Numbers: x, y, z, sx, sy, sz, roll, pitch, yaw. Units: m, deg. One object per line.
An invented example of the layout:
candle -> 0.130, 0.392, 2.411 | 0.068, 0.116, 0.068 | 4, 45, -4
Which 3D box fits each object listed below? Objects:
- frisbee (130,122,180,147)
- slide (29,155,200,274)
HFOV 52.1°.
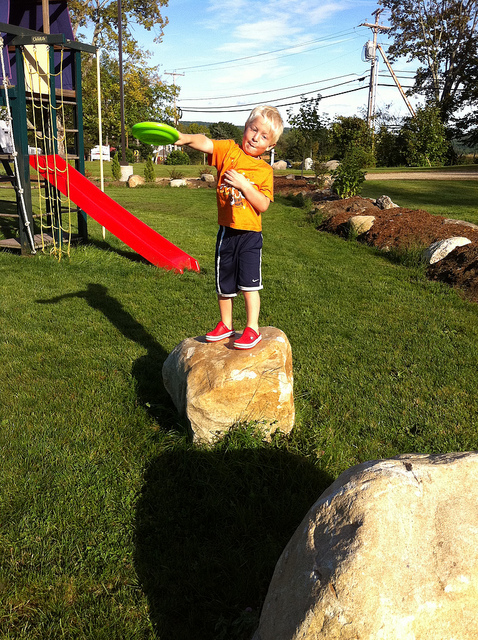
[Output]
frisbee -> -0.439, -0.999, 2.613 | 0.253, 0.113, 0.312 | 1, 19, -2
slide -> -1.862, -1.695, 7.562 | 2.638, 1.592, 0.670 | 8, 19, 20
